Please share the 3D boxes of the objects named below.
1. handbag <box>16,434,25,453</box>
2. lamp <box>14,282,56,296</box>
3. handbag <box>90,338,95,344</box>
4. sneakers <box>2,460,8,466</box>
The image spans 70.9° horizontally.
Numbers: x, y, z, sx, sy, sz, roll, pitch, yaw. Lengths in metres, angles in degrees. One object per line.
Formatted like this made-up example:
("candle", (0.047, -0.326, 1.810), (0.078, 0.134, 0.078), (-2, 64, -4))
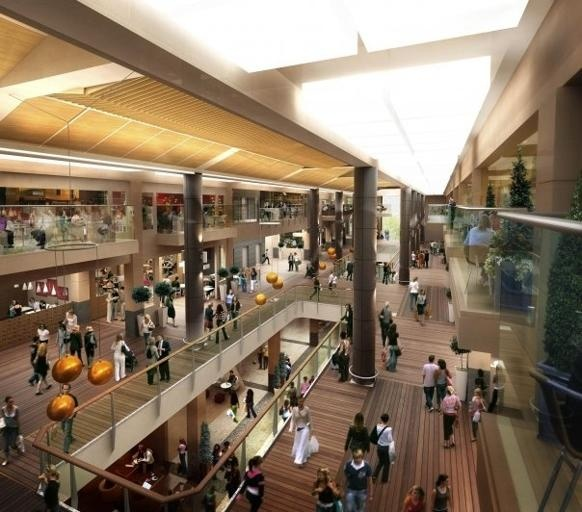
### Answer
("handbag", (-5.539, 3.759, 8.360), (0.124, 0.361, 0.394), (-5, 7, -33))
("lamp", (-10.814, 1.391, 17.619), (1.067, 0.500, 0.675), (-1, 5, -1))
("handbag", (-5.322, 2.269, 10.927), (0.158, 0.162, 0.039), (0, 4, -31))
("sneakers", (-5.542, 3.994, 7.905), (0.036, 0.059, 0.127), (3, 5, -22))
